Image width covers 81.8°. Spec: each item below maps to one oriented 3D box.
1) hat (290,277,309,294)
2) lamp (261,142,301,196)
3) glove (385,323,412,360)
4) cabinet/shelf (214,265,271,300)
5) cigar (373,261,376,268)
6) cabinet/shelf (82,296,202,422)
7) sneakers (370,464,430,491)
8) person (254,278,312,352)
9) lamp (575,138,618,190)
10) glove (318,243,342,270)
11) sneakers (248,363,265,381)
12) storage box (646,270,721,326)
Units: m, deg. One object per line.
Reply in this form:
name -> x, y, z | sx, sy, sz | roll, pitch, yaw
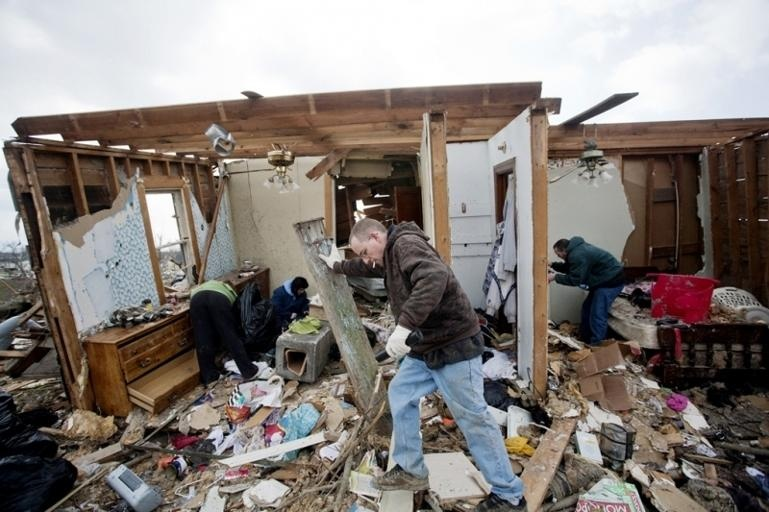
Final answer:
hat -> -1.416, 0.489, 7.452 | 0.291, 0.268, 0.218 | 1, 7, -9
lamp -> -1.643, -1.439, 7.096 | 0.534, 0.615, 0.552 | 3, 7, 11
glove -> 0.144, 0.840, 4.384 | 0.271, 0.348, 0.143 | -4, 7, 2
cabinet/shelf -> -2.607, 0.474, 8.074 | 0.269, 0.568, 0.628 | 2, 9, 12
cigar -> -0.120, 0.101, 5.040 | 0.045, 0.059, 0.017 | -2, 5, 38
cabinet/shelf -> -3.302, 1.535, 6.627 | 1.160, 1.068, 1.441 | 8, 16, 17
sneakers -> 0.170, 2.318, 4.721 | 0.616, 0.270, 0.229 | 3, -2, 2
person -> -1.644, 0.925, 7.294 | 0.405, 1.088, 1.078 | 1, 9, 40
lamp -> 3.139, -1.486, 6.670 | 0.422, 0.484, 0.446 | -9, 6, 12
glove -> -0.746, 0.042, 5.808 | 0.350, 0.336, 0.094 | 32, -48, -22
sneakers -> -1.828, 1.715, 6.672 | 0.285, 0.184, 0.282 | -4, 7, 4
storage box -> 4.362, 0.618, 6.559 | 0.825, 0.674, 0.676 | 5, -8, 23
